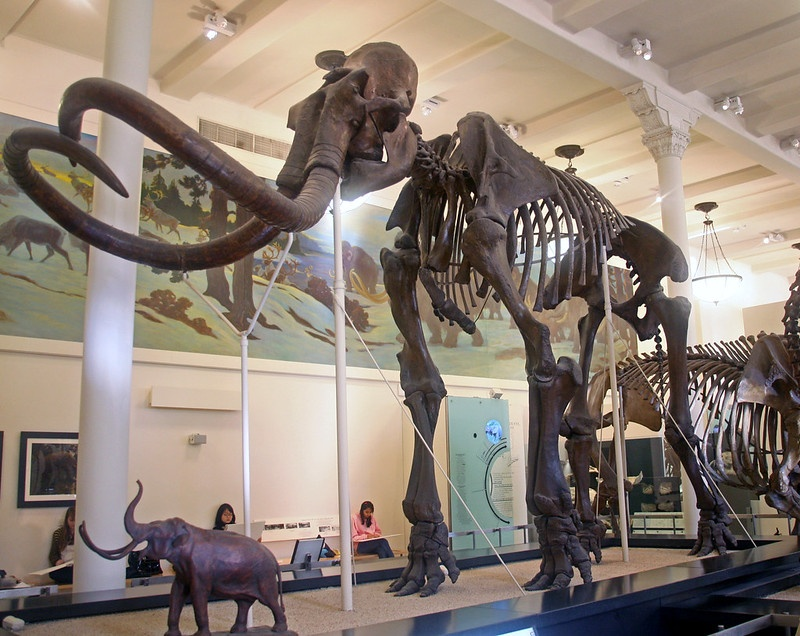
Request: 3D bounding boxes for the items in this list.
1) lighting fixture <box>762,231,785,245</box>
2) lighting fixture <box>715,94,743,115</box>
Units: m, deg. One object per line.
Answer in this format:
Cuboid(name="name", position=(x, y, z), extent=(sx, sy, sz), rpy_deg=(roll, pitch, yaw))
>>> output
Cuboid(name="lighting fixture", position=(9.224, -1.950, 15.034), extent=(0.399, 0.168, 0.303), rpy_deg=(0, -3, -41))
Cuboid(name="lighting fixture", position=(5.049, -3.203, 9.317), extent=(0.316, 0.164, 0.374), rpy_deg=(1, 8, 30))
